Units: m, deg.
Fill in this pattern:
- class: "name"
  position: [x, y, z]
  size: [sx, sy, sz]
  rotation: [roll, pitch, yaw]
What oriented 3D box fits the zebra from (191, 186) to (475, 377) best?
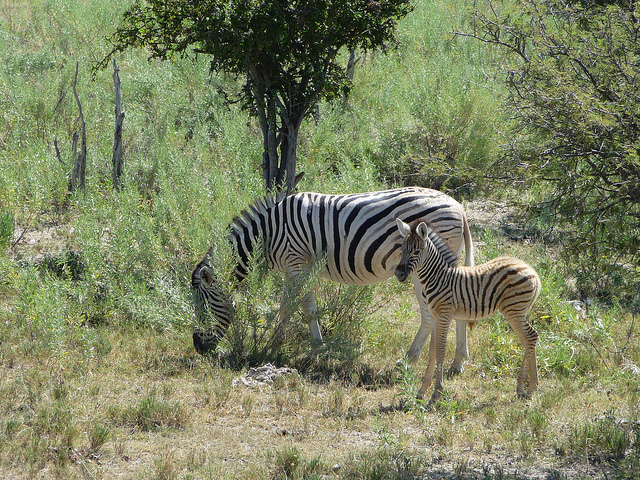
- class: "zebra"
  position: [0.085, 0.684, 12.583]
  size: [3.851, 2.926, 1.203]
  rotation: [-3, -5, 10]
